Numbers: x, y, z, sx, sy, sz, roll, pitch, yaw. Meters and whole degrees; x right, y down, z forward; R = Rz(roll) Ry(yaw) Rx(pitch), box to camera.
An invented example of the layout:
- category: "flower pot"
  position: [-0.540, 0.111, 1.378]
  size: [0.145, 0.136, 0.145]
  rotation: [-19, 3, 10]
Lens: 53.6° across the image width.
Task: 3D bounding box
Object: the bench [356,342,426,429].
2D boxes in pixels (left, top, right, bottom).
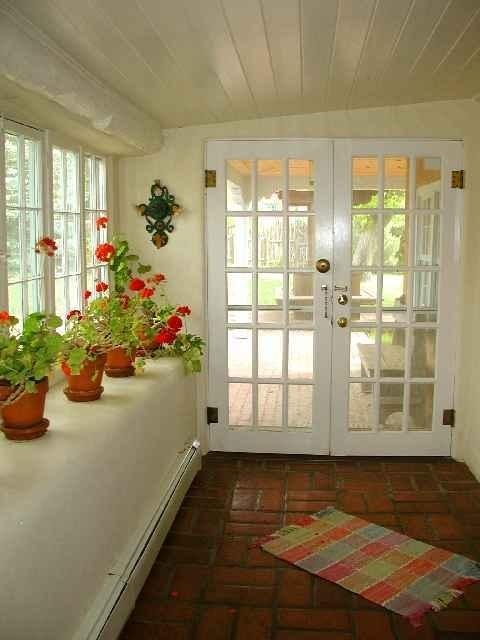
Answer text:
- category: "bench"
  position: [1.072, 0.402, 3.535]
  size: [0.443, 0.594, 0.643]
  rotation: [-2, 8, 8]

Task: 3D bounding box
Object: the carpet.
- category: "carpet"
  position: [0.563, 1.041, 2.124]
  size: [0.595, 0.073, 0.851]
  rotation: [-5, 9, -43]

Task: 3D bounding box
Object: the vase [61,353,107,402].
- category: "vase"
  position: [-0.635, 0.230, 1.939]
  size: [0.181, 0.177, 0.177]
  rotation: [0, -3, -25]
